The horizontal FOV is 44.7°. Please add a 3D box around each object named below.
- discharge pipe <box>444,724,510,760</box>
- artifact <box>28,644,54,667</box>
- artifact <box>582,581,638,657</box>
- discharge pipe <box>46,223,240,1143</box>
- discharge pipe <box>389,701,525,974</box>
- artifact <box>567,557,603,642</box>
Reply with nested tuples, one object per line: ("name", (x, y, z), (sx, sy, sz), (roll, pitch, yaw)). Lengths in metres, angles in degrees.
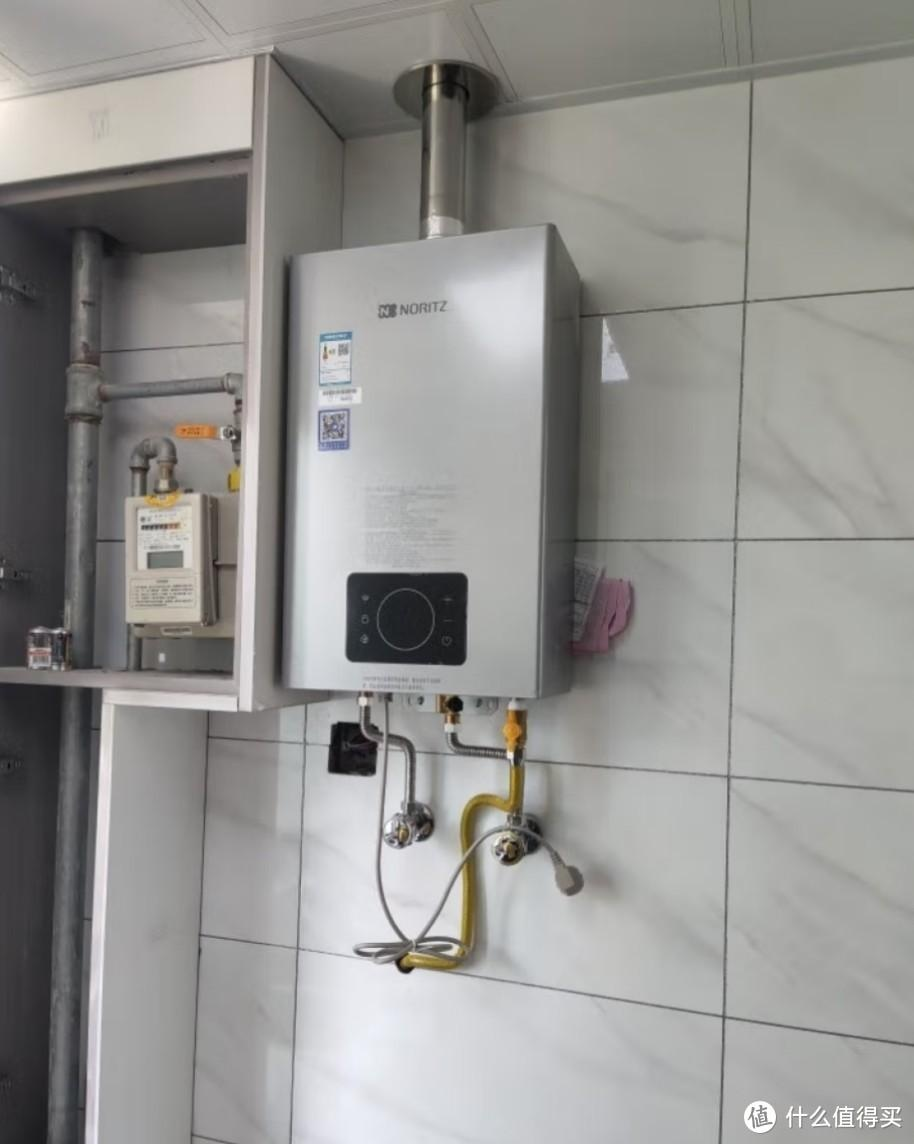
("discharge pipe", (0.026, 0.254, 1.657), (0.092, 0.042, 0.105), (3, 1, 0))
("artifact", (-0.635, 0.130, 1.719), (0.033, 0.037, 0.034), (-1, -10, 1))
("artifact", (0.235, 0.075, 1.667), (0.095, 0.098, 0.035), (4, -15, 42))
("discharge pipe", (-0.537, 0.192, 1.836), (0.271, 1.502, 0.173), (3, 1, 5))
("discharge pipe", (0.004, 0.404, 1.647), (0.184, 0.307, 0.103), (3, 1, 12))
("artifact", (0.185, 0.035, 1.640), (0.026, 0.101, 0.074), (9, 0, -3))
